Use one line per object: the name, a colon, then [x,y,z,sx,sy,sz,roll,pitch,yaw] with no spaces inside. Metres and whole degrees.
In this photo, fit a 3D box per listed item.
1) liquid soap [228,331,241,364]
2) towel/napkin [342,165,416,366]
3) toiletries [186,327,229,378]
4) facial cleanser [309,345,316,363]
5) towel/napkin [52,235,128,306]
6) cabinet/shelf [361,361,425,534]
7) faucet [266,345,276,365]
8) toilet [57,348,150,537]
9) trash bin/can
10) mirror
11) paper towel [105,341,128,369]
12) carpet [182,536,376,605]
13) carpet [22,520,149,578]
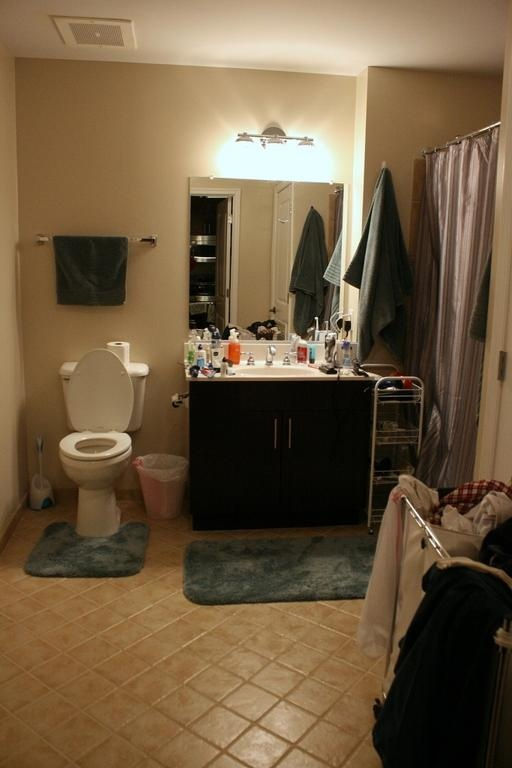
liquid soap: [-0.132,-0.209,3.388,0.066,0.188,0.163,1,7,-4]
towel/napkin: [0.689,-0.654,3.268,0.377,1.073,0.246,2,7,2]
toiletries: [-0.263,-0.185,3.203,0.252,0.239,0.584,1,8,-7]
facial cleanser: [0.329,-0.179,3.451,0.042,0.114,0.137,2,7,5]
towel/napkin: [-0.938,-0.652,3.271,0.363,0.384,0.043,0,12,-9]
cabinet/shelf: [0.786,0.366,3.286,0.266,0.825,0.415,2,3,15]
faucet: [0.081,-0.169,3.395,0.041,0.107,0.129,1,7,0]
toilet: [-0.798,0.293,3.133,0.461,0.946,0.691,-1,8,-17]
trash bin/can: [-0.524,0.545,3.382,0.301,0.371,0.362,6,8,31]
mirror: [0.008,-0.786,3.503,0.870,0.057,1.019,-12,-19,-28]
paper towel: [-0.768,-0.175,3.345,0.128,0.154,0.135,6,20,7]
carpet: [0.131,0.854,2.771,0.942,0.034,0.701,1,8,-5]
carpet: [-0.814,0.806,2.892,0.559,0.032,0.622,1,8,-5]
